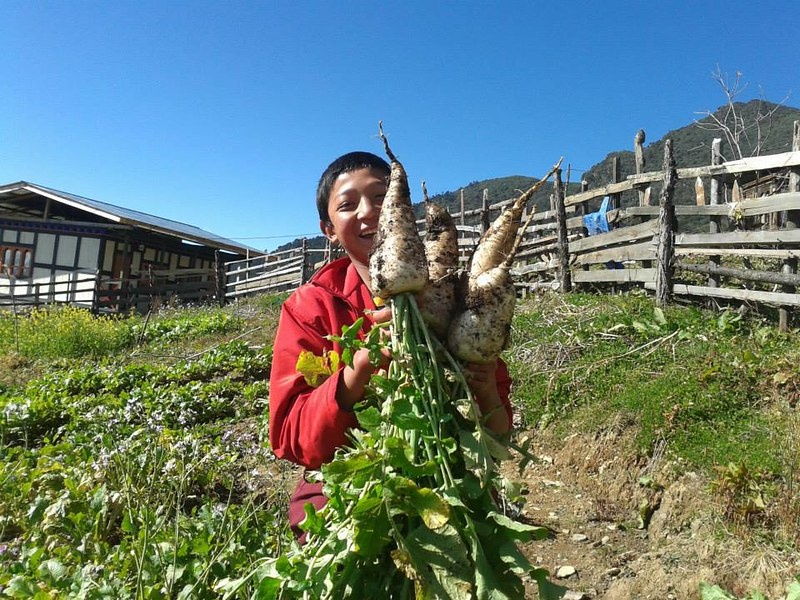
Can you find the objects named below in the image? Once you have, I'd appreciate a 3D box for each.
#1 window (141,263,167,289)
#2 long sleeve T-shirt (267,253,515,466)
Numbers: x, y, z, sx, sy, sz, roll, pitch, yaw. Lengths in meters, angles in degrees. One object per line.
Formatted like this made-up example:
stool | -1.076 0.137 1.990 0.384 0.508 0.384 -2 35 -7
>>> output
window | -9.985 -0.940 19.214 1.133 1.226 1.147 -3 4 -42
long sleeve T-shirt | -0.157 0.295 2.490 1.153 1.208 0.820 3 -16 -40
